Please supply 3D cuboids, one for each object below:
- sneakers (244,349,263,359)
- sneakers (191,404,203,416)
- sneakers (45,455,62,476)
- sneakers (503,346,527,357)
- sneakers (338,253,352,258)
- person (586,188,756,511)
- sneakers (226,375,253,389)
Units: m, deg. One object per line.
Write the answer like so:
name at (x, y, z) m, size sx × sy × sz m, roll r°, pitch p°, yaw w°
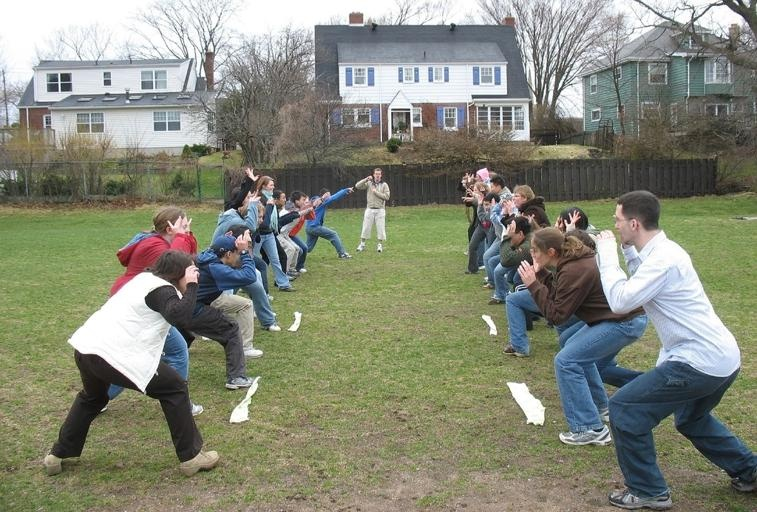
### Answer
sneakers at (-1.870, 1.469, 10.886) m, size 0.248 × 0.110 × 0.113 m, roll -1°, pitch 2°, yaw -1°
sneakers at (-2.359, 2.002, 9.456) m, size 0.073 × 0.076 × 0.172 m, roll 6°, pitch 7°, yaw 32°
sneakers at (-3.729, 2.401, 8.382) m, size 0.139 × 0.181 × 0.289 m, roll 2°, pitch 19°, yaw -16°
sneakers at (2.043, 1.405, 10.851) m, size 0.338 × 0.153 × 0.127 m, roll 8°, pitch 4°, yaw 31°
sneakers at (-0.791, -0.020, 17.667) m, size 0.328 × 0.136 × 0.114 m, roll 0°, pitch 13°, yaw 2°
person at (3.255, 1.004, 7.976) m, size 1.491 × 3.409 × 0.732 m, roll -1°, pitch 8°, yaw -1°
sneakers at (-1.893, 1.729, 10.063) m, size 0.433 × 0.189 × 0.148 m, roll -2°, pitch 9°, yaw -10°
